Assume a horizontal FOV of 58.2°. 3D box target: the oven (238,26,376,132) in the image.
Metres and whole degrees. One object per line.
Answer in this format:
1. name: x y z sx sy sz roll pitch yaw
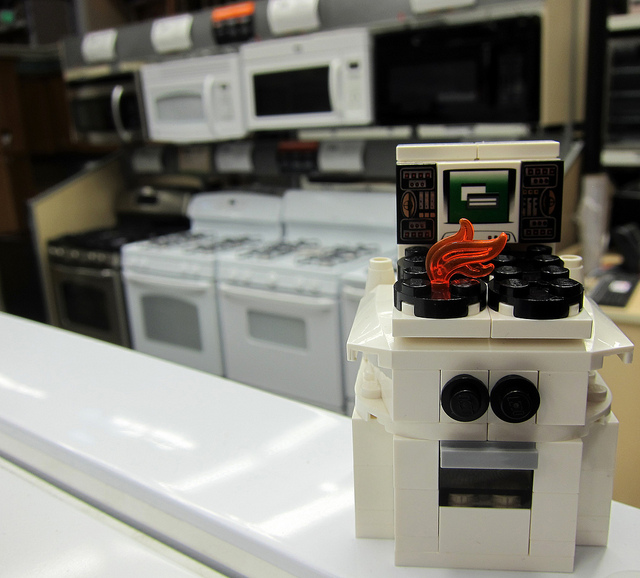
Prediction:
1. oven: 0.055 -0.742 2.102 0.578 0.282 0.359 13 24 42

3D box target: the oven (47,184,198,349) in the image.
1. oven: -0.983 -0.029 2.740 0.403 0.559 0.439 18 37 14

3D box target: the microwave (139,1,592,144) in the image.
1. microwave: 0.093 -0.669 1.858 1.441 0.353 0.177 4 23 21

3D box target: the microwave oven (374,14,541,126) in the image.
1. microwave oven: 0.488 -0.719 1.906 0.687 0.335 0.381 15 29 39

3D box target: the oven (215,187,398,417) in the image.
1. oven: 0.014 0.011 2.387 0.729 0.709 0.625 5 23 30

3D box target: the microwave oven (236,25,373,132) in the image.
1. microwave oven: 0.043 -0.742 2.103 0.591 0.283 0.368 10 21 35

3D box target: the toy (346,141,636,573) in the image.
1. toy: 0.215 0.070 0.780 0.343 0.516 0.328 -2 21 6

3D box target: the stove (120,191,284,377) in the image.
1. stove: -0.457 -0.041 2.543 0.626 0.654 0.554 7 27 34

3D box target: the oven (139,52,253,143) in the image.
1. oven: -0.419 -0.723 2.246 0.515 0.262 0.325 8 18 34
